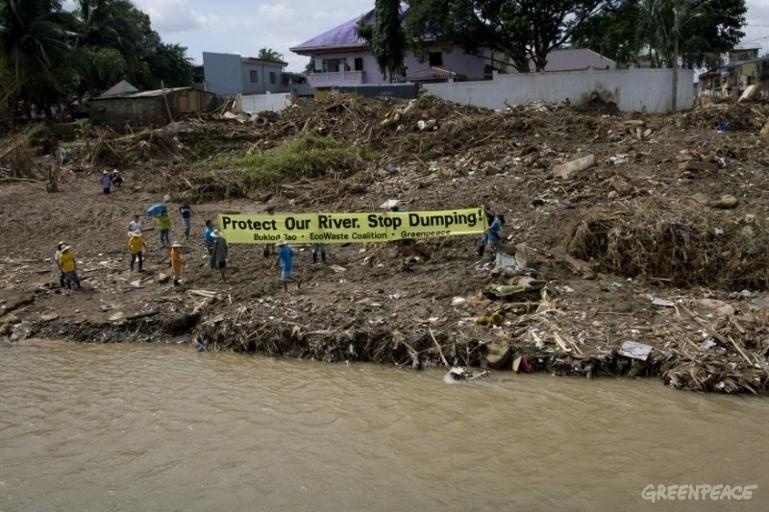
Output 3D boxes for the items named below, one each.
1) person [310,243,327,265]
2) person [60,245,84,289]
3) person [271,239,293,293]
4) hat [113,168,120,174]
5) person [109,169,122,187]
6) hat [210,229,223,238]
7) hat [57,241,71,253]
[{"bbox_3d":[-2.395,-0.146,24.815,0.487,0.717,0.951,-1,7,-4],"label":"person"},{"bbox_3d":[-10.938,0.360,23.678,0.677,1.543,0.312,-2,7,-8],"label":"person"},{"bbox_3d":[-3.500,0.211,23.798,0.585,1.626,1.587,-2,7,-8],"label":"person"},{"bbox_3d":[-13.425,-4.251,34.144,0.487,0.245,0.623,-5,8,-18],"label":"hat"},{"bbox_3d":[-13.114,-3.787,33.435,0.507,0.869,1.410,-3,7,-20],"label":"person"},{"bbox_3d":[-5.868,-0.790,23.930,0.292,0.293,0.070,-3,-1,3],"label":"hat"},{"bbox_3d":[-11.505,-0.317,24.502,0.385,0.127,0.393,10,29,30],"label":"hat"}]
